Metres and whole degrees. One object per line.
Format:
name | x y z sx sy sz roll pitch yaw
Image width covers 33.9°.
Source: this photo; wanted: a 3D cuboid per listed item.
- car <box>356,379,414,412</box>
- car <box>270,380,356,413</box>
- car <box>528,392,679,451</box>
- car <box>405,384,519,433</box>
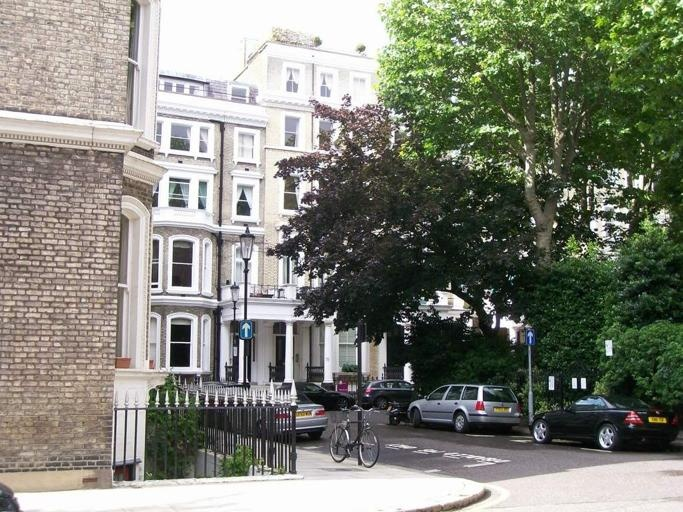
car | 1.933 5.870 47.626 2.228 0.872 1.055 0 -6 -22
car | -0.933 5.786 44.456 3.707 1.095 1.542 2 -3 -27
car | 7.538 4.747 32.044 1.678 1.141 3.458 11 -13 -31
car | 4.071 4.985 36.800 1.558 1.017 2.930 8 -8 -31
